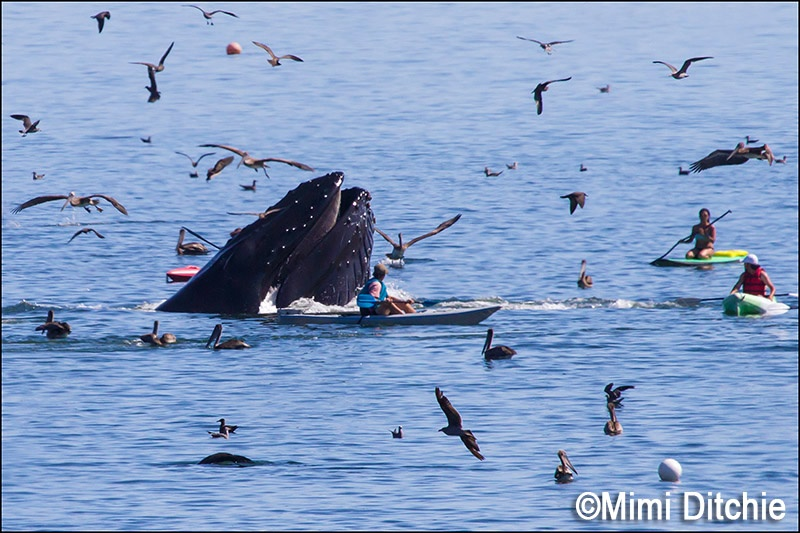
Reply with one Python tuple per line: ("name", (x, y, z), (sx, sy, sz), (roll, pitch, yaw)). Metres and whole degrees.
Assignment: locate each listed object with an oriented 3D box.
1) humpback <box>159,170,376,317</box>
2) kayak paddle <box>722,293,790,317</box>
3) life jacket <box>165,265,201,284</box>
("humpback", (-3.880, -0.085, 65.818), (6.889, 2.460, 3.773), (-19, 42, -4))
("kayak paddle", (11.736, 1.280, 68.042), (0.994, 1.572, 0.321), (8, 91, 38))
("life jacket", (-7.388, 0.265, 71.164), (0.592, 0.236, 1.573), (31, 36, 29))
